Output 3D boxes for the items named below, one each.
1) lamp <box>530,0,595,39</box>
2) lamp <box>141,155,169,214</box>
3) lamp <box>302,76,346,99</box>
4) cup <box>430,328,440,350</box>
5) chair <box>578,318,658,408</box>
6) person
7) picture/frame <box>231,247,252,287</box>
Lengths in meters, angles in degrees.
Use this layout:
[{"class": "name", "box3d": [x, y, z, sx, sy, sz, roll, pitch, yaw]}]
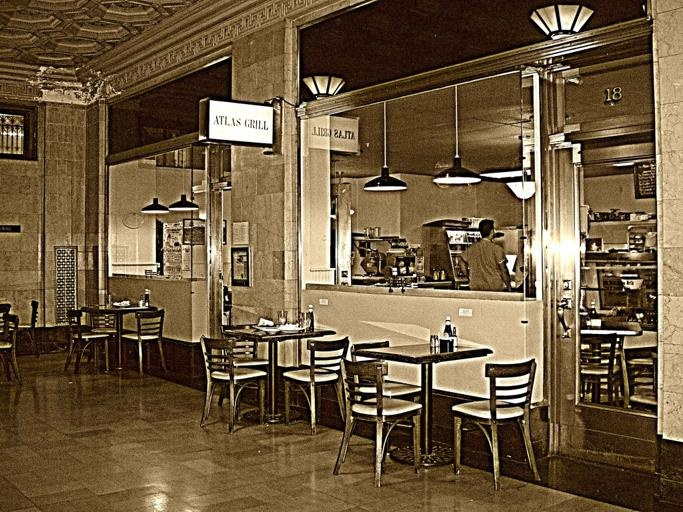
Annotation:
[{"class": "lamp", "box3d": [2.153, -2.314, 6.904, 0.372, 0.144, 0.374, 8, 1, 11]}, {"class": "lamp", "box3d": [-3.614, -1.274, 13.445, 0.871, 1.007, 0.369, 3, 6, 42]}, {"class": "lamp", "box3d": [-0.233, -2.208, 9.155, 0.366, 0.143, 0.372, 6, 7, 33]}, {"class": "cup", "box3d": [0.947, 0.874, 7.230, 0.124, 0.198, 0.129, 1, 4, 0]}, {"class": "chair", "box3d": [2.711, 0.997, 7.201, 0.879, 0.825, 0.723, 3, 5, 42]}, {"class": "person", "box3d": [1.840, -0.001, 8.934, 0.472, 0.853, 1.658, -1, 4, 8]}, {"class": "picture/frame", "box3d": [-1.452, 0.158, 10.119, 0.070, 0.663, 0.580, -1, 1, -34]}]
